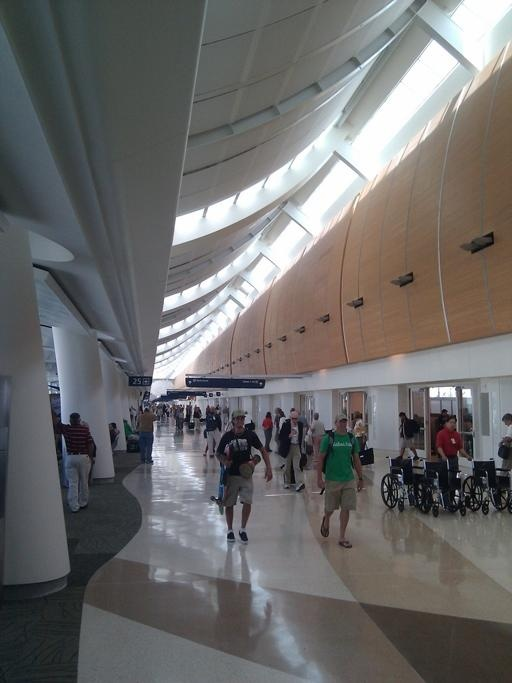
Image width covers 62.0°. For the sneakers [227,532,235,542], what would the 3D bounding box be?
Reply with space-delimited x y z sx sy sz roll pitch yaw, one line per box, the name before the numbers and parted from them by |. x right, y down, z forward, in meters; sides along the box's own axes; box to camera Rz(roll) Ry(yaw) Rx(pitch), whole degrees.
sneakers | -0.341 2.804 6.050 0.115 0.110 0.157 8 -7 1

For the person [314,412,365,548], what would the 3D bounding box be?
person | 1.229 2.027 6.271 0.614 1.835 1.203 5 -7 15

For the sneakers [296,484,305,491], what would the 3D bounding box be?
sneakers | 1.084 3.614 10.441 0.174 0.159 0.386 6 -7 15

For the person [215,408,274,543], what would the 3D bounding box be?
person | -0.133 1.951 6.059 0.706 1.848 0.610 0 -1 -11

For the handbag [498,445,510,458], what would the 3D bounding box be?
handbag | 4.899 2.211 8.445 0.202 0.325 0.159 15 -12 -34

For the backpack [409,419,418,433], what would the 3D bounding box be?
backpack | 4.767 2.585 12.847 0.152 0.498 0.350 -13 -7 36

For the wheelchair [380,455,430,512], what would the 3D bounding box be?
wheelchair | 2.915 2.783 8.265 0.624 1.071 0.851 1 -8 -8

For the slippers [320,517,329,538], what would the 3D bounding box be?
slippers | 1.013 2.779 6.338 0.108 0.354 0.075 1 -3 -9

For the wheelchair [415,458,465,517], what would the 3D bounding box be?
wheelchair | 3.430 2.731 7.950 0.825 1.000 1.010 -5 -14 28
